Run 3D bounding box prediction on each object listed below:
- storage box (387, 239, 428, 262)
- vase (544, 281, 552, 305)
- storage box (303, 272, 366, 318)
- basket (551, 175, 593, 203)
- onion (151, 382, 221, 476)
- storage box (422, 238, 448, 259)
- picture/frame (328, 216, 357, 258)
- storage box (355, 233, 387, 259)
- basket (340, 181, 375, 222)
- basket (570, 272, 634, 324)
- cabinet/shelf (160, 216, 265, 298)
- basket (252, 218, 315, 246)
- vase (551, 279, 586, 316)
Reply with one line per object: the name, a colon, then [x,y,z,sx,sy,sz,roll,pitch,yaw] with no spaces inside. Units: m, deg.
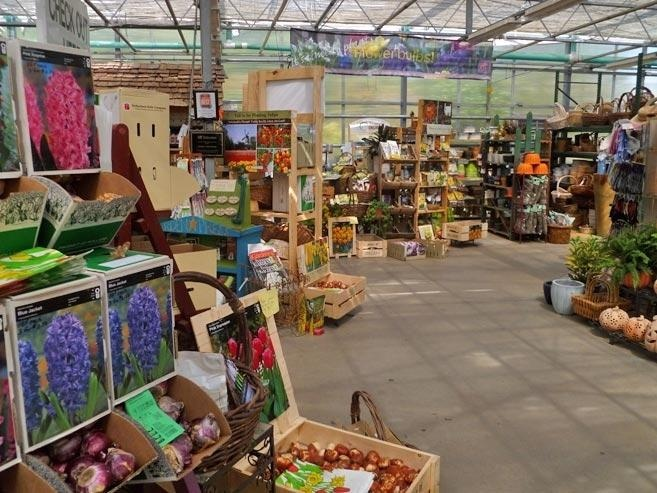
storage box: [1.475,0.057,8.926,0.475,0.238,0.475,-2,8,-23]
vase: [3.051,0.662,6.208,0.111,0.286,0.415,5,13,23]
storage box: [0.062,0.447,5.470,0.510,0.317,0.749,2,9,21]
basket: [6.073,-1.446,11.110,0.723,0.430,1.040,9,13,44]
onion: [-0.484,0.623,1.610,0.282,0.118,0.233,22,39,38]
storage box: [2.170,0.017,9.034,0.382,0.252,0.395,3,12,19]
picture/frame: [0.248,-0.200,8.742,0.721,1.007,0.061,-5,8,-28]
storage box: [0.840,0.011,8.938,0.462,0.270,0.638,-1,3,-3]
basket: [0.605,-0.976,9.258,0.610,0.535,0.700,-5,2,-24]
basket: [3.379,0.599,5.570,0.583,0.581,0.531,-3,5,-32]
cabinet/shelf: [-1.289,0.122,4.796,0.992,1.014,0.393,6,20,14]
basket: [-0.508,-0.176,5.606,0.509,0.209,0.377,-1,9,-16]
vase: [3.097,0.669,5.897,0.413,0.471,0.412,0,4,-7]
